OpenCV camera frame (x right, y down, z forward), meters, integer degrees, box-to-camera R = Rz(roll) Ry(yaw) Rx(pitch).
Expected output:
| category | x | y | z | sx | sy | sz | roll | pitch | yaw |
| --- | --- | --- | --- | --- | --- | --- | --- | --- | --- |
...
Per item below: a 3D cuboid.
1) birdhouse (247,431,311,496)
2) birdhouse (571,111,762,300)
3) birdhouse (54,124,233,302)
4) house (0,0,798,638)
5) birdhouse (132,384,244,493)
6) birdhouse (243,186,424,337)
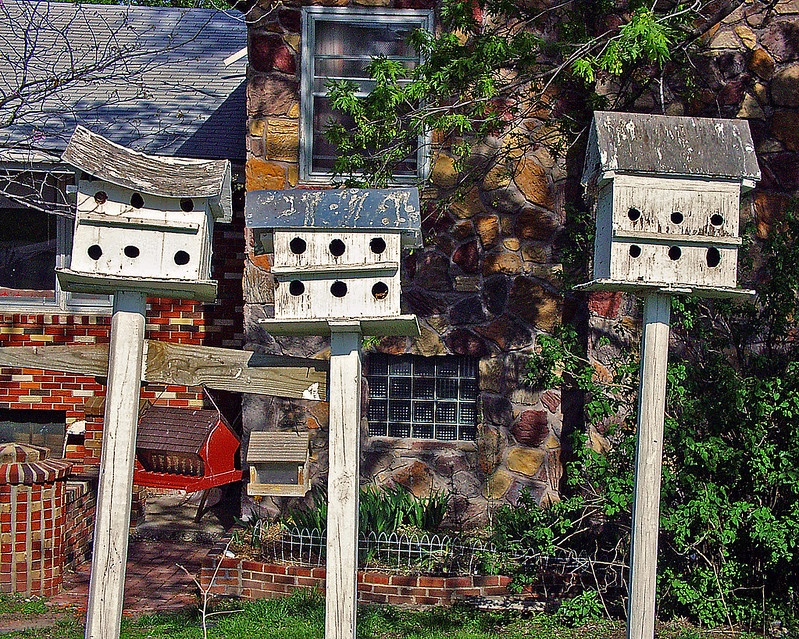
| category | x | y | z | sx | sy | sz | roll | pitch | yaw |
| --- | --- | --- | --- | --- | --- | --- | --- | --- | --- |
| birdhouse | -1.033 | 1.221 | 12.197 | 0.630 | 0.512 | 0.591 | -1 | 3 | -12 |
| birdhouse | 2.260 | -1.073 | 11.623 | 1.371 | 1.412 | 1.124 | 2 | 16 | 4 |
| birdhouse | -2.013 | -0.866 | 11.298 | 1.308 | 1.189 | 0.988 | 5 | 8 | -10 |
| house | 0.472 | -0.924 | 16.104 | 8.961 | 7.962 | 4.615 | 0 | -2 | -2 |
| birdhouse | -1.812 | 1.057 | 12.087 | 0.978 | 0.524 | 0.959 | -7 | 7 | -43 |
| birdhouse | -0.521 | -0.497 | 11.273 | 1.401 | 1.097 | 0.944 | -1 | 1 | -3 |
